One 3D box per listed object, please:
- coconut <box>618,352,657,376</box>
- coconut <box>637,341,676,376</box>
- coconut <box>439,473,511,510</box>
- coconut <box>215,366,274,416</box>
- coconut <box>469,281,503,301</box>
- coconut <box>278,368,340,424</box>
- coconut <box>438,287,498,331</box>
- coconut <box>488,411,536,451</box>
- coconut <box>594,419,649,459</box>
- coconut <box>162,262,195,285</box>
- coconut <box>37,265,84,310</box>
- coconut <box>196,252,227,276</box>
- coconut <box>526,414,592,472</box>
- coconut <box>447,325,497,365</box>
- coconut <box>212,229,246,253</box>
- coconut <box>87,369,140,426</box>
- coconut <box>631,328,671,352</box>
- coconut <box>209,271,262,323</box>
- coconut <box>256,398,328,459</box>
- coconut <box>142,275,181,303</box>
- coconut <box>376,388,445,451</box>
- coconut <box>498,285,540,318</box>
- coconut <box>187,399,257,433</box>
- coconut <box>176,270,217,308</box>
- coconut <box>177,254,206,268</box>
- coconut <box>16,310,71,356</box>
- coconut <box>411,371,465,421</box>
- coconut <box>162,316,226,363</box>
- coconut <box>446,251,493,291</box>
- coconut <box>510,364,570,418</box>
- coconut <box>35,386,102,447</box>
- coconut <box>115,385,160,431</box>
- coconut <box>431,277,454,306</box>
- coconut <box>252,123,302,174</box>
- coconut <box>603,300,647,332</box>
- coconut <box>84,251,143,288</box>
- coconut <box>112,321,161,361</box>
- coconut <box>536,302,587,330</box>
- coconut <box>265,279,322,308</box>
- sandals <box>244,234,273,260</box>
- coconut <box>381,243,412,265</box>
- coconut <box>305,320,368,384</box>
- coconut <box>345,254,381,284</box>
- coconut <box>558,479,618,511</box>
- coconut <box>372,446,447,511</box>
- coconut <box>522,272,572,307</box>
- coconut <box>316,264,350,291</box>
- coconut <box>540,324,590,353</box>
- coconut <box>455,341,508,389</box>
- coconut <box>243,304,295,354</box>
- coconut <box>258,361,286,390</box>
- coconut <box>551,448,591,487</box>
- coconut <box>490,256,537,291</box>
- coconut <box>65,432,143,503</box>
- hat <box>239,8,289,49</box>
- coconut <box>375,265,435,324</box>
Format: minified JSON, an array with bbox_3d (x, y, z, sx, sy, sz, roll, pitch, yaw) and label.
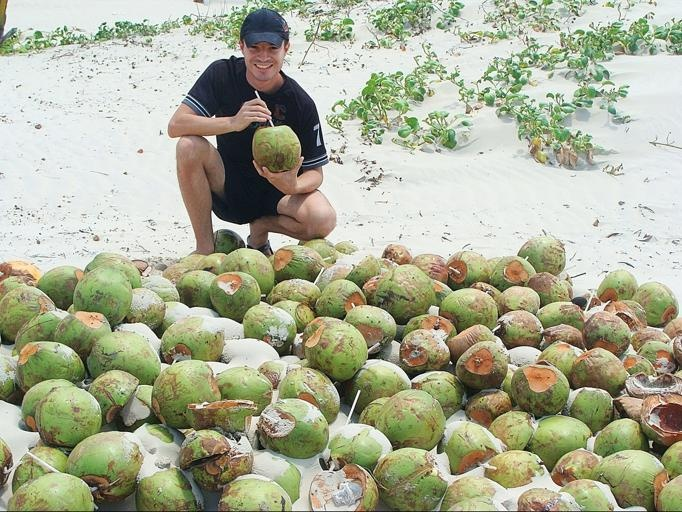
[{"bbox_3d":[1.829,0.671,4.138,0.162,0.096,0.126,9,-5,-22],"label":"coconut"},{"bbox_3d":[2.040,0.651,4.288,0.164,0.170,0.219,-24,-19,5],"label":"coconut"},{"bbox_3d":[0.676,1.181,3.351,0.238,0.139,0.189,-6,0,1],"label":"coconut"},{"bbox_3d":[-0.570,0.755,3.817,0.313,0.251,0.238,9,29,-18],"label":"coconut"},{"bbox_3d":[1.019,0.240,4.679,0.161,0.083,0.138,25,13,24],"label":"coconut"},{"bbox_3d":[-0.126,0.740,3.849,0.346,0.384,0.319,-5,6,5],"label":"coconut"},{"bbox_3d":[0.826,0.379,4.377,0.343,0.279,0.292,11,37,-1],"label":"coconut"},{"bbox_3d":[0.942,0.958,3.668,0.177,0.120,0.214,-7,7,36],"label":"coconut"},{"bbox_3d":[1.509,0.982,3.631,0.239,0.180,0.174,-22,-14,-22],"label":"coconut"},{"bbox_3d":[-1.224,0.122,4.999,0.152,0.098,0.178,-17,9,-14],"label":"coconut"},{"bbox_3d":[-1.846,0.191,4.553,0.321,0.243,0.241,-39,19,-26],"label":"coconut"},{"bbox_3d":[-0.938,0.040,4.931,0.190,0.143,0.154,-28,37,34],"label":"coconut"},{"bbox_3d":[1.185,0.996,3.631,0.326,0.243,0.241,-18,5,-2],"label":"coconut"},{"bbox_3d":[0.784,0.506,4.089,0.237,0.158,0.247,-31,-4,-39],"label":"coconut"},{"bbox_3d":[-0.978,-0.139,5.807,0.219,0.141,0.255,1,10,-6],"label":"coconut"},{"bbox_3d":[-1.199,0.755,3.708,0.253,0.165,0.283,-7,45,20],"label":"coconut"},{"bbox_3d":[2.082,0.554,4.494,0.195,0.114,0.152,-7,4,3],"label":"coconut"},{"bbox_3d":[-0.717,0.282,4.572,0.372,0.356,0.318,2,52,0],"label":"coconut"},{"bbox_3d":[-0.233,0.933,3.658,0.345,0.259,0.273,6,-7,13],"label":"coconut"},{"bbox_3d":[-1.212,0.202,4.535,0.215,0.122,0.166,25,20,10],"label":"coconut"},{"bbox_3d":[0.378,0.865,3.625,0.357,0.266,0.276,10,5,-42],"label":"coconut"},{"bbox_3d":[1.208,0.300,4.544,0.212,0.199,0.195,-9,25,5],"label":"coconut"},{"bbox_3d":[-0.659,0.886,3.705,0.413,0.186,0.426,3,-6,-2],"label":"coconut"},{"bbox_3d":[-0.988,0.228,4.572,0.251,0.243,0.239,-1,-4,-2],"label":"coconut"},{"bbox_3d":[-1.146,0.039,5.183,0.146,0.091,0.165,-3,7,1],"label":"coconut"},{"bbox_3d":[-1.778,0.438,4.058,0.325,0.197,0.196,-31,39,-4],"label":"coconut"},{"bbox_3d":[0.594,0.829,3.987,0.343,0.281,0.268,-3,13,27],"label":"coconut"},{"bbox_3d":[-0.893,0.530,4.055,0.384,0.265,0.235,-5,23,-14],"label":"coconut"},{"bbox_3d":[0.948,0.085,4.992,0.322,0.266,0.292,-22,1,42],"label":"coconut"},{"bbox_3d":[1.165,0.797,3.903,0.353,0.347,0.338,-1,44,24],"label":"coconut"},{"bbox_3d":[-1.427,0.837,3.496,0.329,0.264,0.214,3,23,4],"label":"coconut"},{"bbox_3d":[-1.096,0.840,3.699,0.236,0.134,0.196,-19,-2,8],"label":"coconut"},{"bbox_3d":[0.678,0.249,4.670,0.184,0.108,0.143,24,2,-33],"label":"coconut"},{"bbox_3d":[-0.524,-0.860,5.340,0.399,0.358,0.380,-3,-17,5],"label":"coconut"},{"bbox_3d":[1.983,0.385,4.633,0.274,0.162,0.205,22,29,14],"label":"coconut"},{"bbox_3d":[-1.504,0.114,4.490,0.248,0.178,0.322,-1,22,-44],"label":"coconut"},{"bbox_3d":[-1.217,0.497,4.067,0.201,0.131,0.235,32,-1,-23],"label":"coconut"},{"bbox_3d":[1.490,0.407,4.497,0.249,0.184,0.180,-5,-6,2],"label":"coconut"},{"bbox_3d":[-0.315,0.251,4.633,0.255,0.142,0.207,0,5,15],"label":"coconut"},{"bbox_3d":[-0.737,-0.069,6.196,0.158,0.173,0.455,-4,9,-43],"label":"sandals"},{"bbox_3d":[0.446,-0.017,5.315,0.203,0.153,0.147,6,-6,-9],"label":"coconut"},{"bbox_3d":[-0.040,0.543,4.004,0.372,0.294,0.363,9,34,-39],"label":"coconut"},{"bbox_3d":[0.161,0.082,4.773,0.206,0.127,0.205,-41,-5,7],"label":"coconut"},{"bbox_3d":[1.238,1.184,3.298,0.144,0.109,0.182,-12,13,-41],"label":"coconut"},{"bbox_3d":[0.326,1.131,3.476,0.345,0.283,0.341,5,23,-14],"label":"coconut"},{"bbox_3d":[1.477,0.209,4.780,0.281,0.214,0.209,26,32,20],"label":"coconut"},{"bbox_3d":[-0.058,0.138,4.850,0.212,0.122,0.158,-37,1,-15],"label":"coconut"},{"bbox_3d":[1.446,0.530,4.315,0.206,0.121,0.156,-7,3,-6],"label":"coconut"},{"bbox_3d":[0.821,0.641,3.970,0.286,0.253,0.173,-43,2,17],"label":"coconut"},{"bbox_3d":[-0.456,0.464,4.383,0.383,0.330,0.342,5,3,-22],"label":"coconut"},{"bbox_3d":[-0.400,0.703,3.937,0.137,0.155,0.083,-12,-9,26],"label":"coconut"},{"bbox_3d":[1.212,1.097,3.500,0.204,0.150,0.149,-8,-2,-45],"label":"coconut"},{"bbox_3d":[1.291,0.193,4.988,0.274,0.251,0.269,-11,-34,17],"label":"coconut"},{"bbox_3d":[-1.135,1.050,3.442,0.297,0.294,0.390,-8,0,15],"label":"coconut"},{"bbox_3d":[-0.631,-1.900,5.561,0.296,0.209,0.414,1,26,-5],"label":"hat"},{"bbox_3d":[0.435,0.239,4.506,0.509,0.398,0.370,-1,4,-33],"label":"coconut"}]
